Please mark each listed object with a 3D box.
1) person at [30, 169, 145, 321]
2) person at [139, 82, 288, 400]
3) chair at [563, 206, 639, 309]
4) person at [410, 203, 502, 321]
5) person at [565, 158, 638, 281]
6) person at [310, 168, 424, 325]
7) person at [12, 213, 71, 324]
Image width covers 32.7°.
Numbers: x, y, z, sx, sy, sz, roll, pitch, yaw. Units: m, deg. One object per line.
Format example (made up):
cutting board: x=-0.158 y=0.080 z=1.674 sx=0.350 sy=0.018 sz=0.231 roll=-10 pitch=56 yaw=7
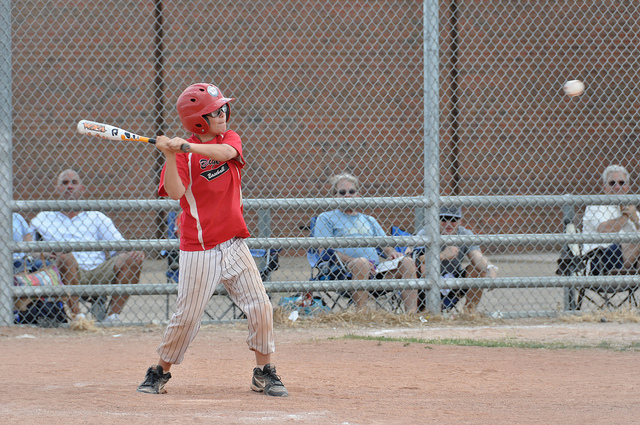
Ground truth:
person: x=-2.413 y=0.359 z=11.151 sx=1.123 sy=1.687 sz=1.150 roll=4 pitch=-13 yaw=-42
person: x=-0.929 y=0.235 z=9.272 sx=1.127 sy=2.613 sz=0.394 roll=-1 pitch=0 yaw=-9
chair: x=2.811 y=0.502 z=11.629 sx=1.023 sy=1.312 sz=0.998 roll=-2 pitch=-4 yaw=18
person: x=1.370 y=0.491 z=11.192 sx=0.883 sy=1.095 sz=0.811 roll=-1 pitch=0 yaw=3
person: x=3.001 y=0.095 z=11.674 sx=0.642 sy=1.526 sz=1.129 roll=9 pitch=-41 yaw=15
person: x=0.459 y=0.351 z=11.271 sx=1.151 sy=1.478 sz=0.985 roll=-1 pitch=0 yaw=-1
person: x=-2.826 y=0.527 z=10.775 sx=0.767 sy=1.013 sz=0.306 roll=-5 pitch=-1 yaw=-32
